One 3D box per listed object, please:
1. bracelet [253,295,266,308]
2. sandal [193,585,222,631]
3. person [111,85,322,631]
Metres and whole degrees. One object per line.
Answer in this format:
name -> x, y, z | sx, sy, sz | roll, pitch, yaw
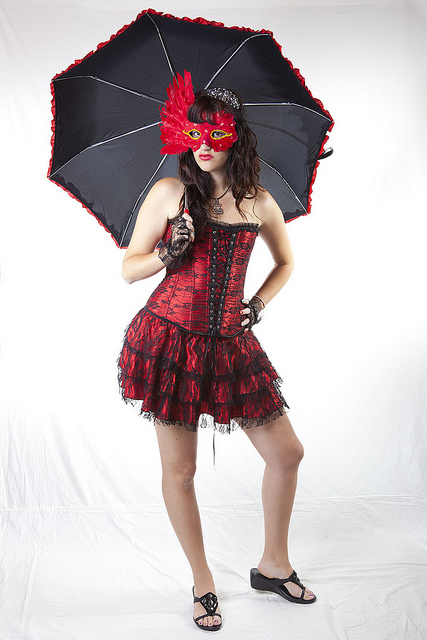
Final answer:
bracelet -> 0.158, -0.062, 1.941 | 0.024, 0.032, 0.032 | -40, 14, 0
sandal -> -0.020, 0.981, 1.915 | 0.089, 0.091, 0.119 | -1, 4, -3
person -> 0.071, 0.106, 2.146 | 0.678, 1.843, 1.016 | 0, 4, 10
